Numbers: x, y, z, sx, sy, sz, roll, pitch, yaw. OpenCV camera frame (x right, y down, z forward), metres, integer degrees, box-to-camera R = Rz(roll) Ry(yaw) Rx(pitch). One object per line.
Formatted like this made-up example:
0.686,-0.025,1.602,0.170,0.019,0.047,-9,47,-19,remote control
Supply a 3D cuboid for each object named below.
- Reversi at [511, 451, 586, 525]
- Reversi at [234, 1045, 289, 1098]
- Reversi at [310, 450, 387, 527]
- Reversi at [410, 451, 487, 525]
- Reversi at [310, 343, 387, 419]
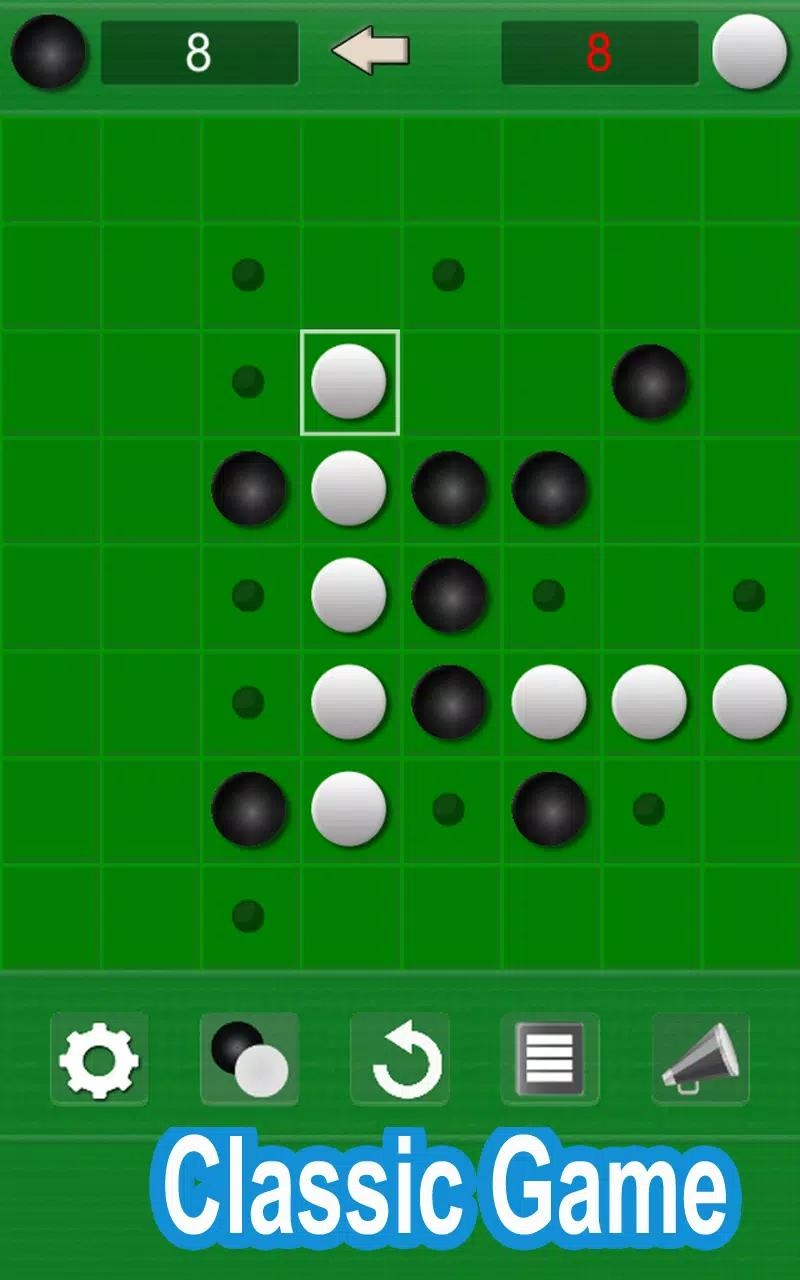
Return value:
0.187,-0.181,1.571,0.093,0.085,0.037,-1,-13,5,Reversi
-0.165,0.520,1.557,0.063,0.063,0.030,0,-13,-3,Reversi
-0.059,-0.181,1.566,0.095,0.092,0.011,1,7,-3,Reversi
0.065,-0.181,1.571,0.090,0.085,0.034,-1,-13,1,Reversi
-0.060,-0.311,1.570,0.091,0.083,0.041,1,-13,-4,Reversi
